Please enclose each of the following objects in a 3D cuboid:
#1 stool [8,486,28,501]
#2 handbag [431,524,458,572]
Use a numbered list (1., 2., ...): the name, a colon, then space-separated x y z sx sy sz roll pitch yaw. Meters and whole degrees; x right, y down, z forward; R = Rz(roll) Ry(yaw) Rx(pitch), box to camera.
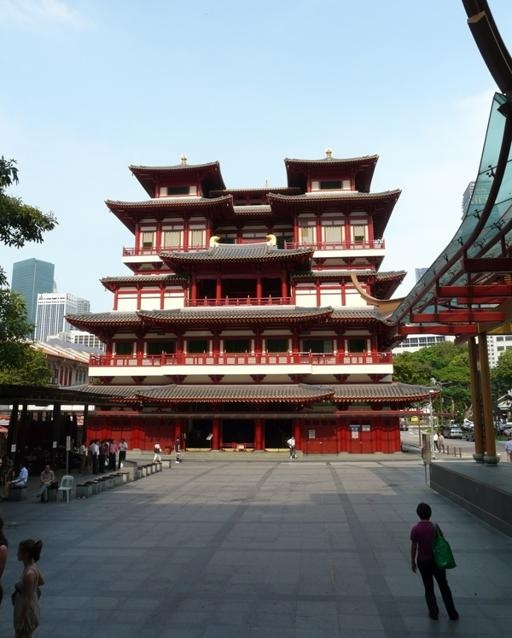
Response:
1. stool: -8.797 6.425 19.130 0.478 0.313 0.438 -3 -12 9
2. handbag: 2.533 3.125 7.073 0.256 0.572 0.391 -6 -11 15
